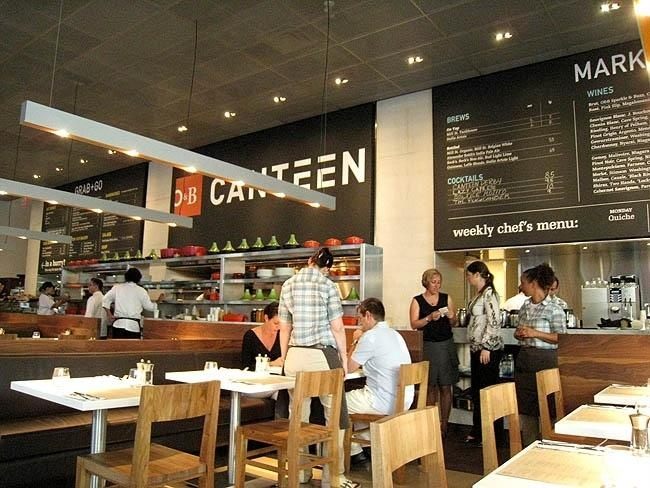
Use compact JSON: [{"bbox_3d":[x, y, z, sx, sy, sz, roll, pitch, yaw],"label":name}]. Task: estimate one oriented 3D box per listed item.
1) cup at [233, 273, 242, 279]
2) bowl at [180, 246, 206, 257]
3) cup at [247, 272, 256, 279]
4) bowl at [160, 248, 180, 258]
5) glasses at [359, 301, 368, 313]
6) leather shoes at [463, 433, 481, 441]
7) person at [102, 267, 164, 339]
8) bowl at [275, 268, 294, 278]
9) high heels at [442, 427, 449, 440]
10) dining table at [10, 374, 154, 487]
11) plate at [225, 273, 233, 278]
[{"bbox_3d":[-1.324,0.483,7.275,0.155,0.090,0.116,-2,-5,21],"label":"cup"},{"bbox_3d":[-2.197,0.123,7.935,0.281,0.114,0.211,-2,-4,10],"label":"bowl"},{"bbox_3d":[-1.101,0.464,7.145,0.107,0.070,0.107,1,-2,0],"label":"cup"},{"bbox_3d":[-2.655,0.153,8.133,0.199,0.091,0.244,4,-11,-30],"label":"bowl"},{"bbox_3d":[0.357,0.545,4.060,0.104,0.096,0.080,2,-4,-28],"label":"glasses"},{"bbox_3d":[1.523,1.995,4.884,0.184,0.068,0.059,6,-13,-8],"label":"leather shoes"},{"bbox_3d":[-2.706,0.794,6.433,0.643,0.933,0.375,-2,-5,19],"label":"person"},{"bbox_3d":[-0.575,0.403,6.877,0.182,0.083,0.180,-1,-6,0],"label":"bowl"},{"bbox_3d":[1.304,2.001,5.031,0.076,0.092,0.246,-1,-10,12],"label":"high heels"},{"bbox_3d":[-1.525,0.939,2.948,0.806,0.730,0.803,-7,-10,43],"label":"dining table"},{"bbox_3d":[-1.454,0.484,7.288,0.144,0.089,0.069,0,-5,-9],"label":"plate"}]
